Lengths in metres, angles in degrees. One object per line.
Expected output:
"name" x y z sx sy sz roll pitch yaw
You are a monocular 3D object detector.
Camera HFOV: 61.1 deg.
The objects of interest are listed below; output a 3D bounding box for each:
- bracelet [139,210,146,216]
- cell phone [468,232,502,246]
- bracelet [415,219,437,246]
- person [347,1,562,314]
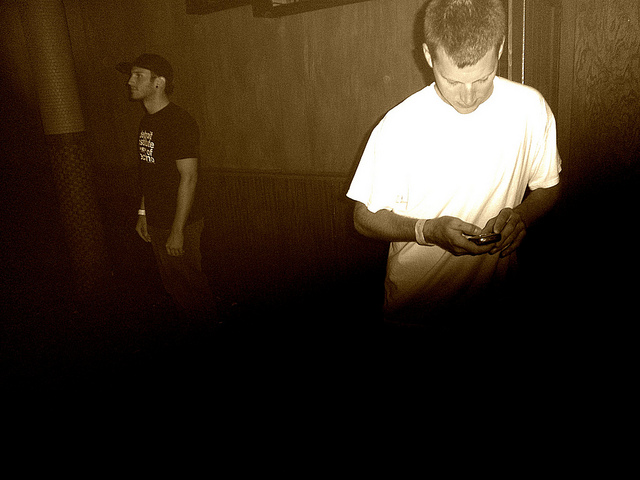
"bracelet" -1.396 -0.218 4.251 0.037 0.031 0.030 1 0 -32
"cell phone" 0.785 -0.005 2.566 0.167 0.047 0.040 -5 29 -18
"bracelet" 0.506 -0.040 2.631 0.090 0.116 0.044 11 27 12
"person" 0.676 -0.323 2.649 1.053 1.512 0.496 5 26 2
